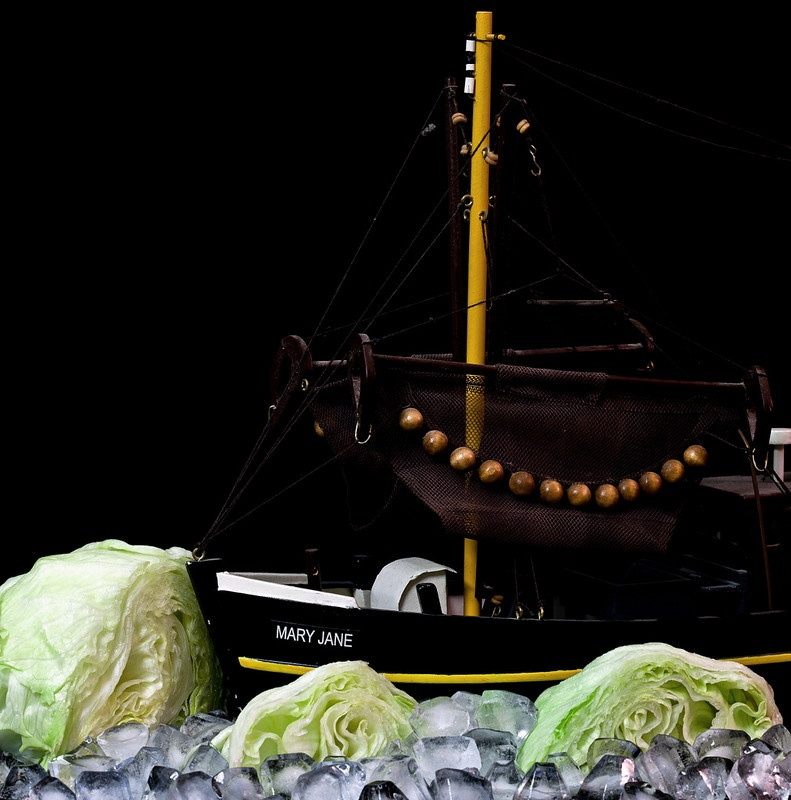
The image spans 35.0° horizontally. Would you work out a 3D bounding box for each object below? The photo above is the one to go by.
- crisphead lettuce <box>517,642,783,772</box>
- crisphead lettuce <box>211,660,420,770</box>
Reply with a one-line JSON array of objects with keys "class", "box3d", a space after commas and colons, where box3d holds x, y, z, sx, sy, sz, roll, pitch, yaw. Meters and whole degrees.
[{"class": "crisphead lettuce", "box3d": [0.378, 0.464, 1.845, 0.396, 0.192, 0.178, 2, -11, 7]}, {"class": "crisphead lettuce", "box3d": [-0.106, 0.434, 1.789, 0.172, 0.121, 0.171, 12, 0, 24]}]
